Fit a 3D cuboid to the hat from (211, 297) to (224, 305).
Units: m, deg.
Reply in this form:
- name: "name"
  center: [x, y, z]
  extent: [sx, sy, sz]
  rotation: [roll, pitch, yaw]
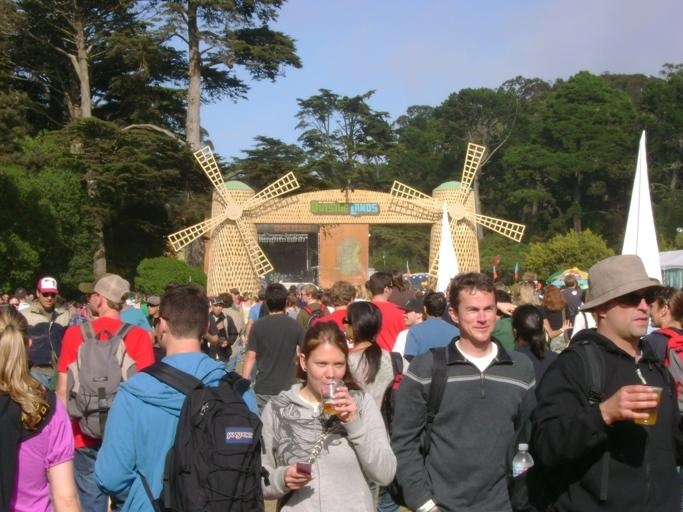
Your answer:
- name: "hat"
  center: [-1.722, 0.628, 11.005]
  extent: [0.117, 0.095, 0.202]
  rotation: [8, 8, -2]

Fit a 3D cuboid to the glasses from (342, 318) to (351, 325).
- name: "glasses"
  center: [0.040, 0.538, 6.510]
  extent: [0.048, 0.050, 0.050]
  rotation: [0, -9, 1]

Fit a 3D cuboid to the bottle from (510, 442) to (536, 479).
- name: "bottle"
  center: [1.222, 1.444, 5.367]
  extent: [0.174, 0.353, 0.183]
  rotation: [1, -5, 0]

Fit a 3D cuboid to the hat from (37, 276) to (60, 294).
- name: "hat"
  center: [-3.255, 0.327, 8.789]
  extent: [0.176, 0.153, 0.256]
  rotation: [7, -2, -30]

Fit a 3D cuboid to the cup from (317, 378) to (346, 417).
- name: "cup"
  center: [-0.058, 0.885, 4.955]
  extent: [0.121, 0.215, 0.141]
  rotation: [-3, -11, 1]

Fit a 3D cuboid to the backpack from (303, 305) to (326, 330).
- name: "backpack"
  center: [-0.357, 0.757, 10.312]
  extent: [0.266, 0.273, 0.194]
  rotation: [-28, -10, 28]

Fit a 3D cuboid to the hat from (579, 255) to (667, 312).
- name: "hat"
  center: [1.771, 0.216, 5.038]
  extent: [0.399, 0.225, 0.369]
  rotation: [-28, -16, 38]
